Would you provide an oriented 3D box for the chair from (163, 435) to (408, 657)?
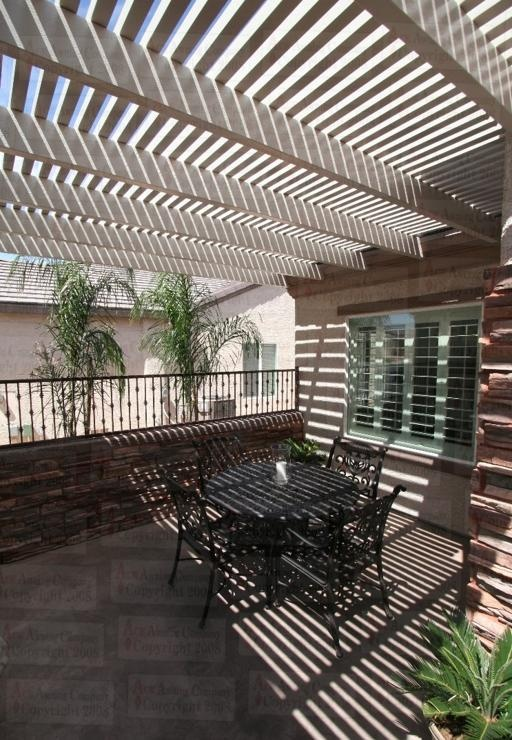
[{"bbox_3d":[0.114,0.931,2.810,1.358,0.707,1.361,6,10,40],"label":"chair"}]
